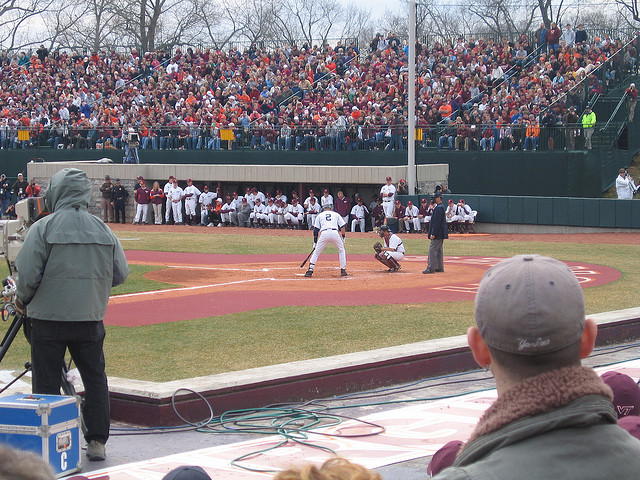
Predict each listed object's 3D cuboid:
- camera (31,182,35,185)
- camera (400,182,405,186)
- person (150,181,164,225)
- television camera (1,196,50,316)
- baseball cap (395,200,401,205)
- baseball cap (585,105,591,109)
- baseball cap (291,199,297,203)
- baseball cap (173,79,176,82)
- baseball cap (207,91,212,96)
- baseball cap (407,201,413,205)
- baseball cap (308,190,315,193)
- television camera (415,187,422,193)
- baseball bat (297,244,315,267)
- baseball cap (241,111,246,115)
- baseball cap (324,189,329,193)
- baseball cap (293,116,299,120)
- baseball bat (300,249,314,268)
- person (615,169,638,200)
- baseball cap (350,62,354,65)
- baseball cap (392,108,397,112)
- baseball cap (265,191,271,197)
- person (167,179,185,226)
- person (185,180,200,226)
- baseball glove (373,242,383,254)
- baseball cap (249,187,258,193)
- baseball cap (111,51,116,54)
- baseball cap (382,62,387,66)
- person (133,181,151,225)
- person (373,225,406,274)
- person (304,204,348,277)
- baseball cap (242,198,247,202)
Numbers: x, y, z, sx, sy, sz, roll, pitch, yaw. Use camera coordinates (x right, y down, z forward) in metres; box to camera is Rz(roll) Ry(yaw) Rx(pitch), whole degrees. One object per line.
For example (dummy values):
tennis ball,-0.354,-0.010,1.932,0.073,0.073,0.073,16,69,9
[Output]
camera,-10.341,-2.034,45.194,0.112,0.077,0.166,-6,11,-14
camera,2.729,-1.875,42.101,0.037,0.107,0.122,8,15,44
person,-5.962,-1.376,45.991,0.494,1.677,1.590,-5,11,-7
television camera,-4.682,0.092,19.173,0.727,1.969,0.656,-1,15,34
baseball cap,2.542,-1.243,41.778,0.137,0.140,0.103,6,25,16
baseball cap,8.845,-4.384,41.670,0.202,0.051,0.205,-1,4,6
baseball cap,-0.923,-1.361,43.887,0.158,0.158,0.445,-4,11,-6
baseball cap,-6.191,-6.723,53.127,0.175,0.097,0.175,-5,7,-18
baseball cap,-4.487,-5.898,50.635,0.193,0.165,0.164,34,31,27
baseball cap,2.929,-1.230,41.452,0.166,0.120,0.273,-2,11,5
baseball cap,-0.333,-1.729,44.533,0.189,0.140,0.224,-1,5,0
television camera,3.292,-1.688,42.585,0.088,0.197,0.497,2,12,25
baseball bat,-0.394,0.413,32.939,0.121,0.068,0.855,35,43,4
baseball cap,-2.947,-4.813,47.797,0.129,0.063,0.178,4,17,-6
baseball cap,0.186,-1.728,44.231,0.200,0.073,0.200,-3,7,-20
baseball cap,-0.904,-4.507,46.538,0.165,0.093,0.275,-4,11,-2
baseball bat,-0.299,0.425,30.693,0.113,0.035,0.710,37,62,20
person,9.596,-1.711,39.591,0.647,0.961,1.298,0,11,17
baseball cap,1.238,-7.138,51.026,0.138,0.075,0.131,-2,9,-14
baseball cap,2.626,-4.625,44.910,0.176,0.104,0.213,0,12,6
baseball cap,-1.904,-1.641,45.209,0.258,0.142,0.366,-2,3,-1
person,-5.276,-1.403,46.087,0.622,1.692,0.566,-7,12,-18
person,-4.720,-1.417,46.331,0.542,1.674,0.997,-4,11,-5
baseball glove,1.378,0.142,30.490,0.200,0.166,0.226,9,-26,40
baseball cap,-2.429,-1.789,44.971,0.237,0.114,0.339,-1,1,-3
baseball cap,-9.648,-8.680,58.321,0.237,0.065,0.234,-4,7,-39
baseball cap,2.463,-6.797,48.779,0.189,0.107,0.191,1,8,-5
person,-6.501,-1.350,45.937,0.574,1.637,0.648,-10,13,-30
person,1.649,0.207,30.776,0.680,1.198,1.156,-3,11,2
person,0.118,-0.023,29.879,1.017,1.818,0.580,1,-22,-5
baseball cap,-2.696,-1.417,44.506,0.158,0.142,0.123,-5,11,-6
